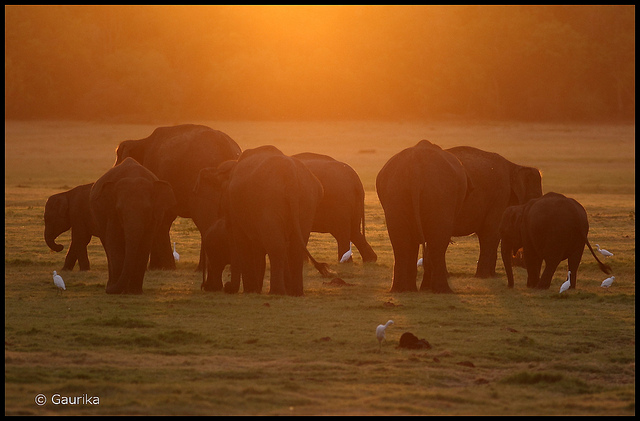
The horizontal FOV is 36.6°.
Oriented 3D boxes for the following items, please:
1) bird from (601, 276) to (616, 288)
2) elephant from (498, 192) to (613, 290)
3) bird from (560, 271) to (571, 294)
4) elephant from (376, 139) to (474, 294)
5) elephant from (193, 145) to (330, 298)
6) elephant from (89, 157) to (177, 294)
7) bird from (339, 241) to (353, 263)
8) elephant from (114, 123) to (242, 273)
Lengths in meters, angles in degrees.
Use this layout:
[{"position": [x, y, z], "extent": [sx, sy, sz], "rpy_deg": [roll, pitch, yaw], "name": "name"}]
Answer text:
[{"position": [6.298, 1.615, 21.378], "extent": [0.238, 0.287, 0.734], "rpy_deg": [2, 4, 16], "name": "bird"}, {"position": [4.953, 0.718, 22.245], "extent": [1.622, 2.184, 3.881], "rpy_deg": [2, -4, -18], "name": "elephant"}, {"position": [5.243, 1.584, 20.861], "extent": [0.193, 0.427, 0.932], "rpy_deg": [2, 4, 15], "name": "bird"}, {"position": [2.153, 0.136, 21.080], "extent": [1.070, 3.340, 1.839], "rpy_deg": [-3, 5, -43], "name": "elephant"}, {"position": [-1.173, 0.263, 21.103], "extent": [2.770, 3.086, 4.319], "rpy_deg": [-7, 9, -29], "name": "elephant"}, {"position": [-4.106, 0.385, 20.642], "extent": [1.565, 2.654, 4.120], "rpy_deg": [6, 2, -21], "name": "elephant"}, {"position": [0.638, 0.954, 23.843], "extent": [0.147, 0.677, 0.284], "rpy_deg": [14, -9, 38], "name": "bird"}, {"position": [-3.413, -0.584, 23.021], "extent": [1.894, 2.636, 4.382], "rpy_deg": [-11, 2, 43], "name": "elephant"}]
